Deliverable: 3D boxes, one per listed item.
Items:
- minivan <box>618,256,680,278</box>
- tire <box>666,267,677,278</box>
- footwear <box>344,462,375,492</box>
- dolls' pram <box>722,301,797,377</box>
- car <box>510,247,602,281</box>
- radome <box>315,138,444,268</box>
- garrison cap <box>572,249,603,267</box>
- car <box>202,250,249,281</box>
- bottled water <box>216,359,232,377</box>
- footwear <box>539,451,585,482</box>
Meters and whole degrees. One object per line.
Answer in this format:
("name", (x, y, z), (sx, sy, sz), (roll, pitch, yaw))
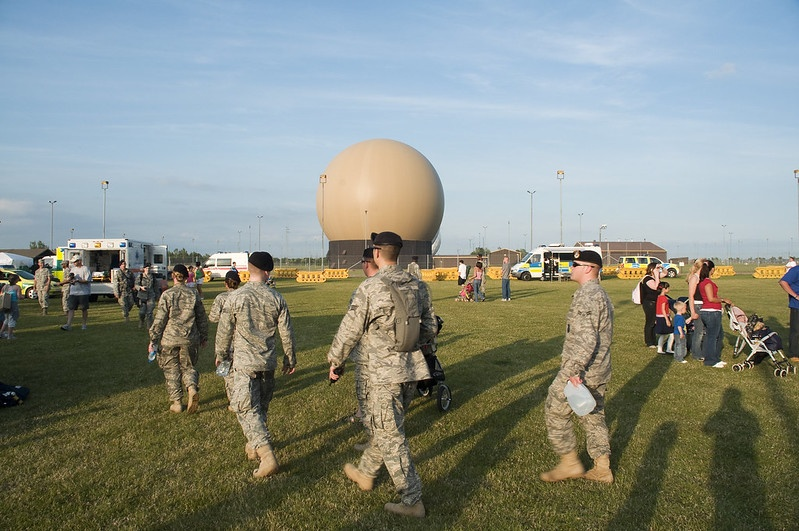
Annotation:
("minivan", (13.982, 0.116, 33.671), (2.994, 1.226, 1.594), (-2, 1, 16))
("tire", (16.611, 0.472, 36.164), (0.769, 0.765, 0.287), (7, -2, -34))
("footwear", (-0.481, 2.502, 7.163), (0.466, 0.205, 0.173), (38, 22, 32))
("dolls' pram", (6.721, 1.432, 11.174), (1.133, 1.404, 1.253), (-4, -1, -6))
("car", (9.609, -0.230, 34.820), (4.854, 2.084, 1.681), (0, 3, 31))
("radome", (-1.995, -5.269, 57.126), (11.981, 14.119, 11.626), (-4, -2, -3))
("garrison cap", (2.315, -0.093, 7.353), (0.225, 0.123, 0.305), (1, 9, -44))
("car", (-10.050, 0.086, 34.345), (3.418, 1.976, 1.977), (1, 1, 4))
("bottled water", (-2.404, 1.445, 8.130), (0.149, 0.294, 0.068), (8, 3, -1))
("footwear", (2.023, 2.471, 7.324), (0.651, 0.505, 0.255), (0, -3, 4))
